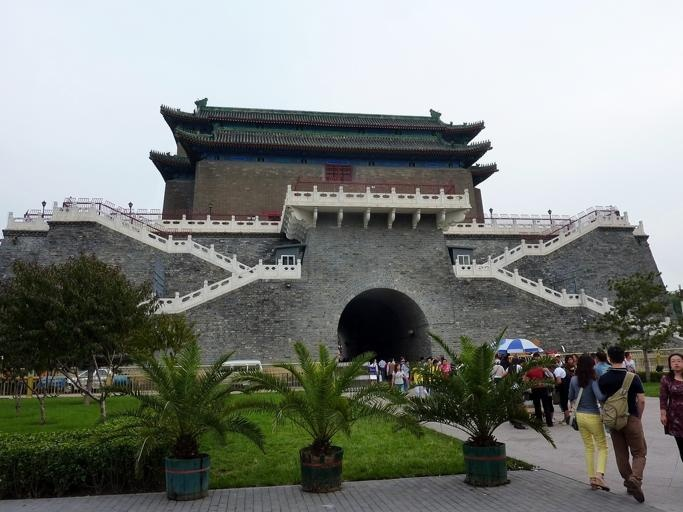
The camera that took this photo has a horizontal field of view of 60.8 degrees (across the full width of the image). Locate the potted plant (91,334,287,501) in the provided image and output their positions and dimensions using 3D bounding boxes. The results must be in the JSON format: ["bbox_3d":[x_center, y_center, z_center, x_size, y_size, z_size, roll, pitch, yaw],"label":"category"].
[{"bbox_3d":[-3.379,3.732,12.291,2.754,2.690,3.416,-7,-17,20],"label":"potted plant"}]

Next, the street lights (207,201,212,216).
[{"bbox_3d":[-9.228,-3.422,41.020,0.336,0.923,0.820,0,-3,-15],"label":"street lights"}]

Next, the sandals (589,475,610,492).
[{"bbox_3d":[4.995,4.411,11.274,0.480,0.203,0.157,1,-5,-6],"label":"sandals"}]

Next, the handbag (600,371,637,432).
[{"bbox_3d":[5.276,2.737,11.023,0.622,1.112,0.288,-2,-3,20],"label":"handbag"}]

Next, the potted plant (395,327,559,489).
[{"bbox_3d":[2.909,3.256,12.715,3.045,3.171,3.398,-6,-19,21],"label":"potted plant"}]
